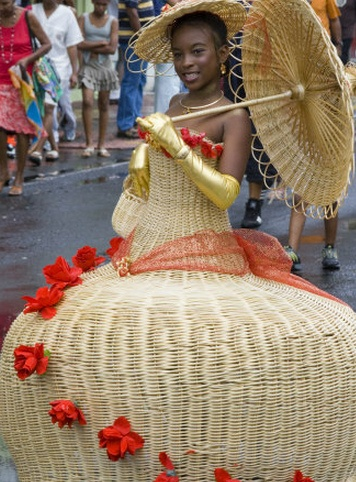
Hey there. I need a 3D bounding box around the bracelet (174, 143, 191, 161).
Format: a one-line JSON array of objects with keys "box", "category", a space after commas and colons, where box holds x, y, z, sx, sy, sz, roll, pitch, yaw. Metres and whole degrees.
[{"box": [0.017, -0.265, 2.180, 0.013, 0.044, 0.047, 34, -24, -18], "category": "bracelet"}]

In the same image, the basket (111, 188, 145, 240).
[{"box": [-0.189, -0.100, 2.655, 0.145, 0.071, 0.174, 7, 27, 7], "category": "basket"}]

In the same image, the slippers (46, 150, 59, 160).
[{"box": [-1.432, -0.956, 8.101, 0.093, 0.064, 0.168, -2, 8, 1], "category": "slippers"}]

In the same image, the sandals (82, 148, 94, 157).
[{"box": [-1.047, -1.014, 8.294, 0.070, 0.081, 0.199, 32, -3, -6], "category": "sandals"}]

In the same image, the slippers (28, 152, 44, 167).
[{"box": [-1.513, -0.878, 7.696, 0.116, 0.093, 0.242, 2, -9, -4], "category": "slippers"}]

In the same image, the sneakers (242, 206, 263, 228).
[{"box": [0.550, -0.180, 5.440, 0.178, 0.182, 0.477, 0, 5, 6], "category": "sneakers"}]
